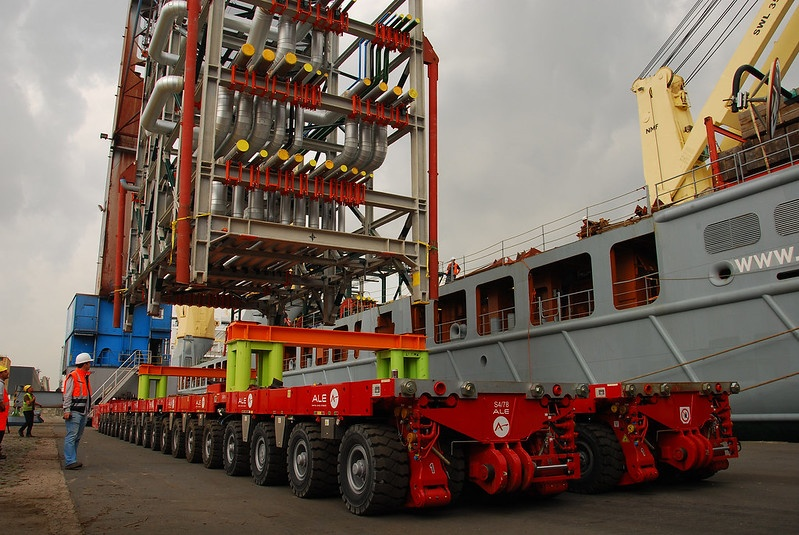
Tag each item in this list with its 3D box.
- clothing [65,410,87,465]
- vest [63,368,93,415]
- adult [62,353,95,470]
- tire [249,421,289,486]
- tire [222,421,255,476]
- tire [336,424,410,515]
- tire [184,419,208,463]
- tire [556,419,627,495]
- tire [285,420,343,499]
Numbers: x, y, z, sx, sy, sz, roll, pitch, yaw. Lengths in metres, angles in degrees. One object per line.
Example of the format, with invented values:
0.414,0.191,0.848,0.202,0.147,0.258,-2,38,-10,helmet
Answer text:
-7.774,4.056,17.087,0.458,1.435,1.513,1,-2,-25,clothing
-7.522,2.918,16.801,0.474,1.048,1.004,-7,-12,18,vest
-7.610,3.365,16.793,0.707,2.640,0.885,0,-16,-22,adult
-2.819,4.107,15.576,0.372,1.257,1.201,6,-18,-24,tire
-3.911,4.370,17.191,0.418,1.341,1.285,7,-25,-29,tire
-0.602,3.802,13.451,0.600,1.728,1.681,7,-17,-31,tire
-5.599,4.779,19.548,0.360,1.172,1.127,6,-10,-28,tire
3.908,4.040,14.876,0.469,1.548,1.478,9,-14,-24,tire
-1.834,3.961,14.678,0.576,1.551,1.546,5,-11,-27,tire
